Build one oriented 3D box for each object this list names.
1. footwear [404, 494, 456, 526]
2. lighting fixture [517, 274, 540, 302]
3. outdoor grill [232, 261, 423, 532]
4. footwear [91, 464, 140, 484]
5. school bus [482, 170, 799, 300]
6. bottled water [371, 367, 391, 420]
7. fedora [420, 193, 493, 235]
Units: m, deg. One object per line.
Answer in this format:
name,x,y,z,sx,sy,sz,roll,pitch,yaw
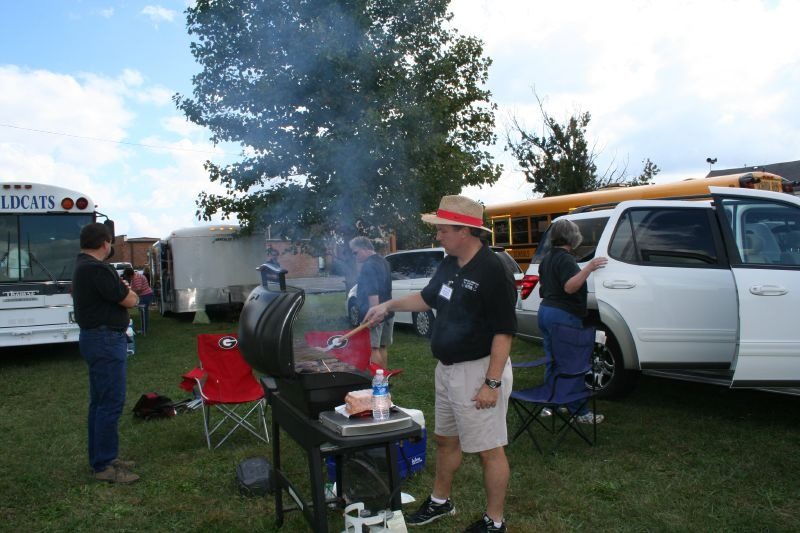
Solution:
footwear,0.273,2.270,5.534,0.520,0.226,0.195,-7,-7,-23
lighting fixture,1.866,0.307,8.514,0.128,0.331,0.239,24,11,-1
outdoor grill,-0.720,1.230,5.077,1.576,2.429,0.696,5,10,39
footwear,-2.991,2.185,6.249,0.488,0.213,0.182,1,2,-7
school bus,5.032,-1.622,16.140,2.936,3.109,10.746,-1,0,-32
bottled water,-0.158,1.037,4.858,0.152,0.381,0.329,-2,8,-3
fedora,0.525,-0.471,5.310,0.740,0.298,0.669,12,2,-11
